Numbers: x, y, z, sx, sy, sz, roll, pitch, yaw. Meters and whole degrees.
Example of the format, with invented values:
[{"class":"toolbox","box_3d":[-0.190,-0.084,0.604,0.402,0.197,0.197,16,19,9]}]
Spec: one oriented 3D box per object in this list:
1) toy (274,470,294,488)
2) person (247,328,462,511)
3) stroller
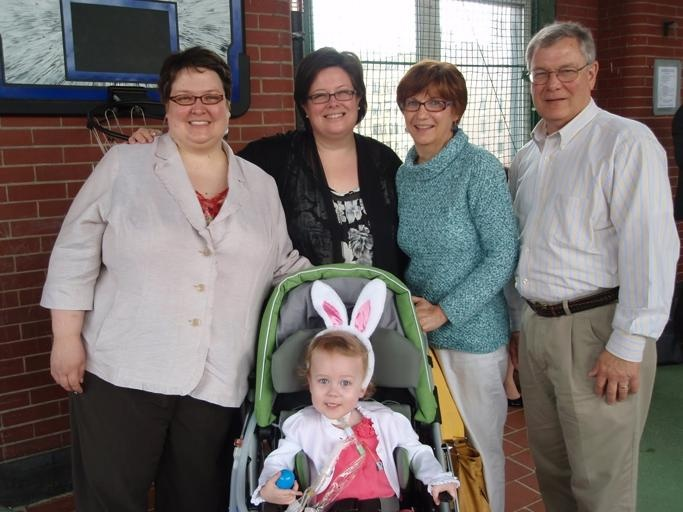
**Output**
[{"class":"toy","box_3d":[-0.222,0.872,2.306,0.050,0.060,0.062,3,11,37]},{"class":"person","box_3d":[0.030,0.540,2.726,0.857,0.915,0.711,-5,-3,-4]},{"class":"stroller","box_3d":[-0.051,0.435,2.811,0.796,1.165,1.087,-2,22,-2]}]
